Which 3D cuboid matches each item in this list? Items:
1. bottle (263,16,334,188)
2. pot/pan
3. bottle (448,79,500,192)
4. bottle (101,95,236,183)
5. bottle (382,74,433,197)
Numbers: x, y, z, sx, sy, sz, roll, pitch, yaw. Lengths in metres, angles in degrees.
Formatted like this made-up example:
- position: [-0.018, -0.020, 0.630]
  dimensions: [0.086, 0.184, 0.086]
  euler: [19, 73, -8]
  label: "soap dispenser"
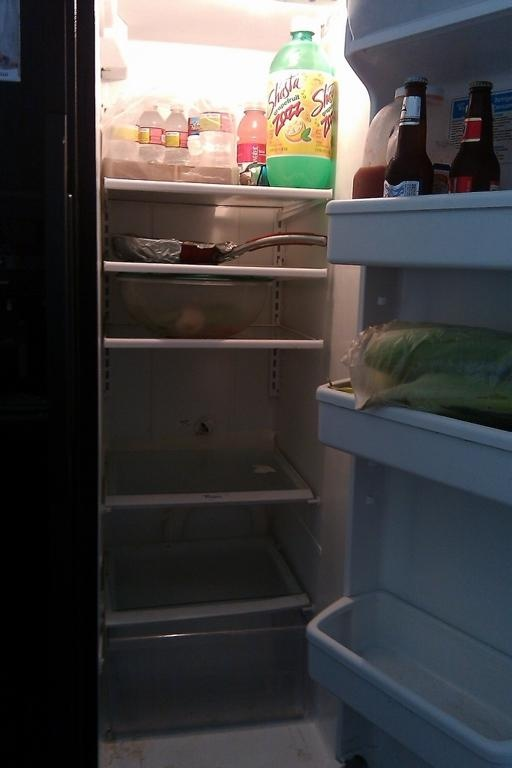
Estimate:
- position: [0.093, -0.557, 1.255]
  dimensions: [0.142, 0.314, 0.140]
  euler: [0, 12, 0]
  label: "bottle"
- position: [-0.105, -0.270, 1.252]
  dimensions: [0.314, 0.051, 0.166]
  euler: [1, 20, -3]
  label: "pot/pan"
- position: [0.265, -0.293, 0.746]
  dimensions: [0.057, 0.122, 0.046]
  euler: [4, 12, 17]
  label: "bottle"
- position: [-0.169, -0.480, 1.249]
  dimensions: [0.195, 0.136, 0.206]
  euler: [2, 7, 0]
  label: "bottle"
- position: [0.191, -0.301, 0.767]
  dimensions: [0.057, 0.135, 0.040]
  euler: [3, 12, 12]
  label: "bottle"
